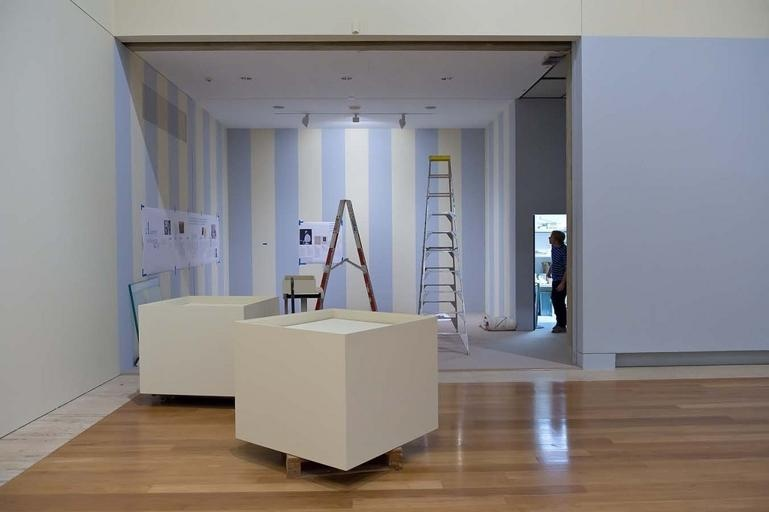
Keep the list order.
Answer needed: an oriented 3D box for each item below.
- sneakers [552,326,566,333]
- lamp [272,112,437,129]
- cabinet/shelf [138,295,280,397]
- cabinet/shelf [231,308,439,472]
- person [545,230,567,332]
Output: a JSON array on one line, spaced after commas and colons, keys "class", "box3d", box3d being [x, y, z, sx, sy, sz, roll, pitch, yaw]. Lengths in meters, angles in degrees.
[{"class": "sneakers", "box3d": [2.387, 0.997, 8.262, 0.225, 0.099, 0.078, 1, -4, 10]}, {"class": "lamp", "box3d": [-0.437, -2.037, 8.986, 2.267, 0.192, 0.777, -1, 12, -2]}, {"class": "cabinet/shelf", "box3d": [-1.624, 0.741, 5.479, 0.932, 0.705, 0.950, 0, 0, 3]}, {"class": "cabinet/shelf", "box3d": [-0.386, 0.763, 4.457, 1.183, 0.974, 1.218, -1, -2, 40]}, {"class": "person", "box3d": [2.395, 0.303, 8.350, 0.270, 1.308, 0.160, 4, 13, 22]}]
